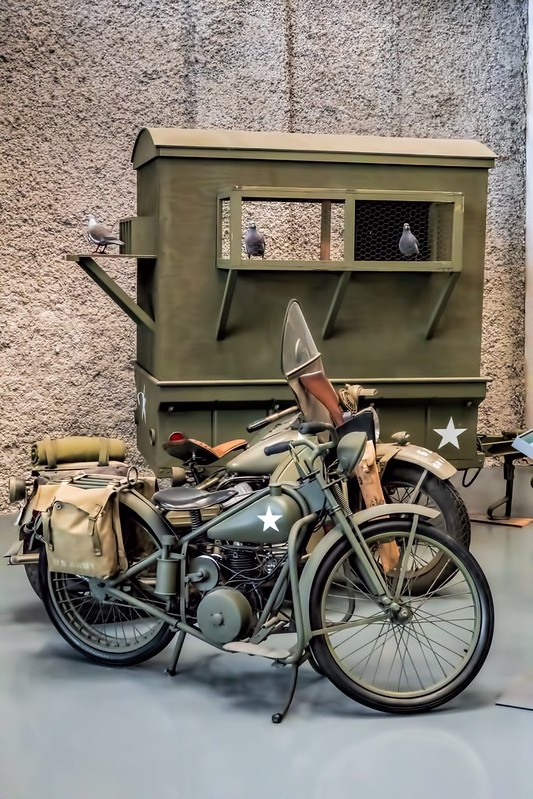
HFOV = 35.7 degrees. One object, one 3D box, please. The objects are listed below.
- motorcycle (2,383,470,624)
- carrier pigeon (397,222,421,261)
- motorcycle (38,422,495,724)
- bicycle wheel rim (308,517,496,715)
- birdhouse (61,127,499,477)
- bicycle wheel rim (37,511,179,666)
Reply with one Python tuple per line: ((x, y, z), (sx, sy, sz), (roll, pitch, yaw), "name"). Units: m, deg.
((-0.095, 0.314, 3.559), (1.842, 1.100, 0.906), (-2, 6, -3), "motorcycle")
((0.698, -0.766, 4.044), (0.106, 0.200, 0.189), (-12, 2, 14), "carrier pigeon")
((-0.116, 0.522, 3.016), (1.819, 1.018, 0.730), (0, 2, 24), "motorcycle")
((0.431, 0.721, 2.718), (0.539, 0.583, 0.114), (-2, -11, 24), "bicycle wheel rim")
((0.058, -0.471, 4.342), (1.988, 1.636, 1.224), (1, 2, -7), "birdhouse")
((-0.532, 0.634, 2.823), (0.539, 0.621, 0.120), (1, 1, 22), "bicycle wheel rim")
